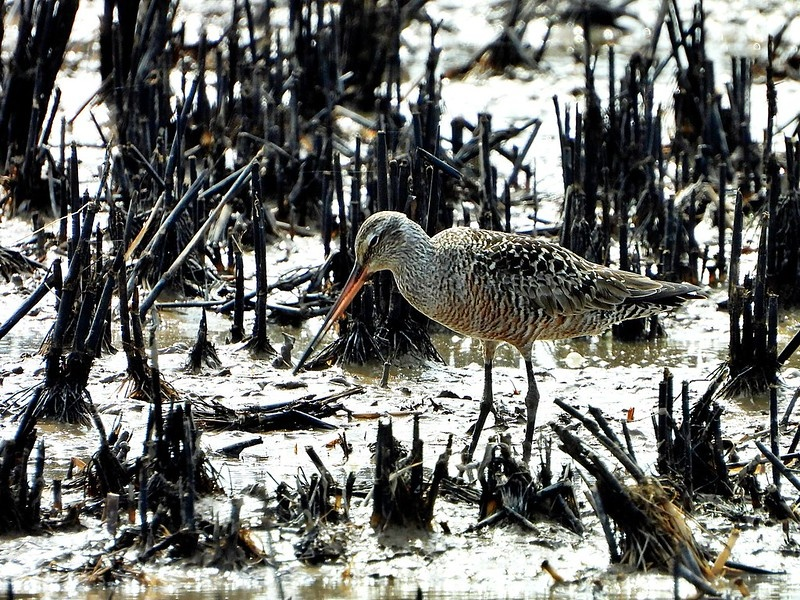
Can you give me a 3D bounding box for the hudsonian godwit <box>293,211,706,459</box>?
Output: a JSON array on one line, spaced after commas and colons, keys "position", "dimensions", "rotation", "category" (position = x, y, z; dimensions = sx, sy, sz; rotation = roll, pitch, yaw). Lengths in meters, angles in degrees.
[{"position": [0.756, 0.050, 7.456], "dimensions": [2.035, 1.194, 0.867], "rotation": [2, 2, -12], "category": "hudsonian godwit"}]
